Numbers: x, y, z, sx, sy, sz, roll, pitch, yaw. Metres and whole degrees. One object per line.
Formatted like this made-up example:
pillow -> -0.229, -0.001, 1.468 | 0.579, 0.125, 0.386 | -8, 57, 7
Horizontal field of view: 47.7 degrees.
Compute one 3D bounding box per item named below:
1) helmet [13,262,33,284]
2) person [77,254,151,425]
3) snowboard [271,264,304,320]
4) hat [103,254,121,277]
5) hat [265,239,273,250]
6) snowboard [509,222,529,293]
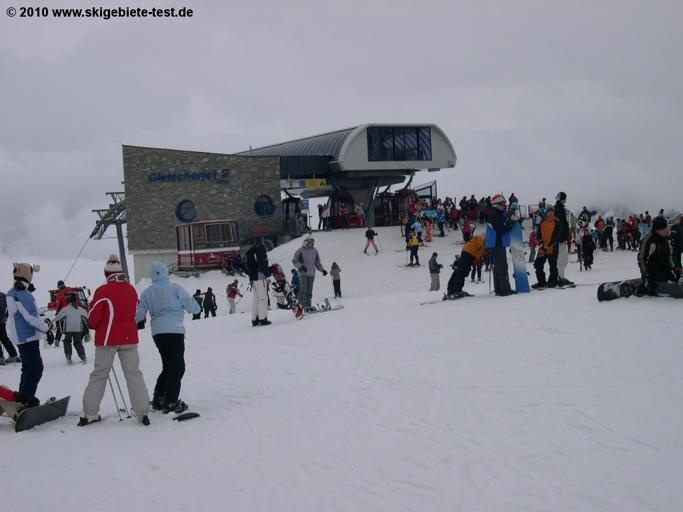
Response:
helmet -> -4.072, 0.221, 9.812 | 0.134, 0.223, 0.208 | 7, 31, -6
person -> -2.984, 1.109, 9.999 | 0.824, 1.800, 0.661 | -7, 4, -39
snowboard -> -1.365, 0.912, 19.148 | 0.310, 1.320, 0.183 | -25, -5, -27
hat -> -2.690, 0.137, 9.055 | 0.148, 0.210, 0.229 | -2, -28, -23
hat -> -4.170, -0.704, 44.419 | 0.459, 0.835, 0.167 | 0, -4, -27
snowboard -> 3.503, -0.133, 15.418 | 0.318, 1.660, 0.208 | -4, 9, -18
